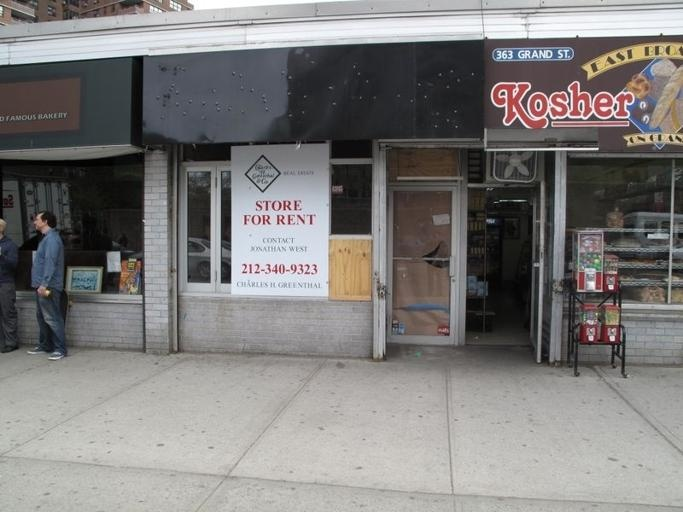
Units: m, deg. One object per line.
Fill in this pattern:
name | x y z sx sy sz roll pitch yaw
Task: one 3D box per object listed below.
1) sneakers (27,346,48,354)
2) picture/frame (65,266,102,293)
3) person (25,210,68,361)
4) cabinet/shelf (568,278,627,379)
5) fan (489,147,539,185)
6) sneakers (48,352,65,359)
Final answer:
sneakers | -4.794 1.470 10.014 0.338 0.144 0.124 4 1 -7
picture/frame | -4.183 0.393 10.402 0.435 0.342 0.034 -1 -14 -2
person | -4.471 0.464 9.732 0.552 2.153 0.730 -8 15 -31
cabinet/shelf | 3.639 0.961 9.112 0.891 1.288 0.994 1 13 3
fan | 2.630 -1.372 9.677 0.521 0.535 0.143 0 7 5
sneakers | -4.330 1.506 9.734 0.230 0.091 0.102 4 1 -23
